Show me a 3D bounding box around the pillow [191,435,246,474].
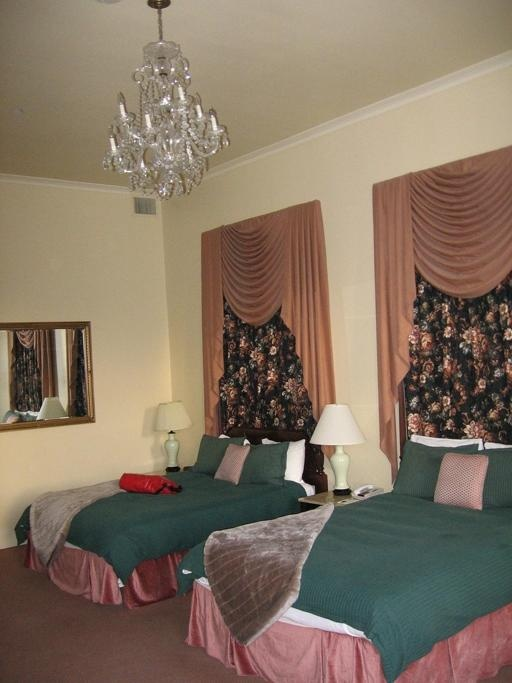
[{"bbox_3d":[-0.372,1.161,5.575,0.440,0.418,0.134,4,-20,48],"label":"pillow"}]

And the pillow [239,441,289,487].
[{"bbox_3d":[0.081,1.095,4.897,0.318,0.232,0.154,-13,-13,38],"label":"pillow"}]

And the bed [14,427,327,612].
[{"bbox_3d":[-0.490,1.387,4.565,1.790,0.790,1.450,3,-4,-42],"label":"bed"}]

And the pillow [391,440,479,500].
[{"bbox_3d":[1.222,0.892,3.858,0.135,0.424,0.445,24,-13,-20],"label":"pillow"}]

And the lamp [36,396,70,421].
[{"bbox_3d":[-2.201,0.720,5.980,0.247,0.162,0.223,-5,0,5],"label":"lamp"}]

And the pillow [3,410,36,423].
[{"bbox_3d":[-2.453,0.781,5.748,0.160,0.062,0.163,3,5,34],"label":"pillow"}]

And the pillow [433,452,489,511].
[{"bbox_3d":[1.274,0.851,3.424,0.129,0.312,0.316,23,-16,-30],"label":"pillow"}]

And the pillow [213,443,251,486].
[{"bbox_3d":[-0.213,1.119,5.081,0.103,0.314,0.340,28,-10,-27],"label":"pillow"}]
